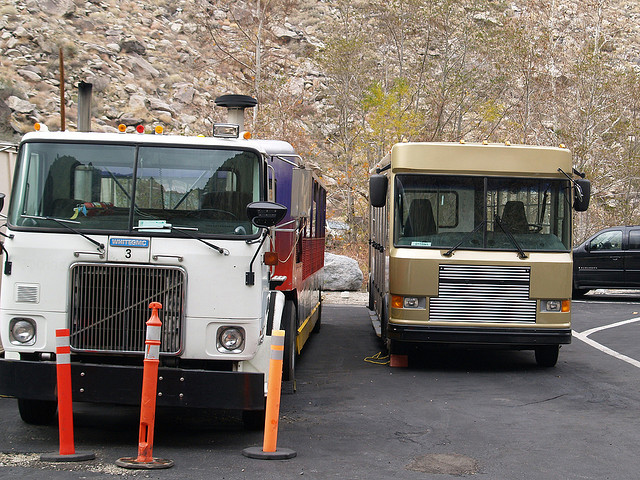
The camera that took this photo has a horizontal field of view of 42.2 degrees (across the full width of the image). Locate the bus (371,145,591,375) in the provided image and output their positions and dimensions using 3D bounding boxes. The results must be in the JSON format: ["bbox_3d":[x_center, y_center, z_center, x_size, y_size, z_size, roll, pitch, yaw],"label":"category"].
[{"bbox_3d":[2.923,0.663,17.774,3.668,4.261,8.435,1,-5,2],"label":"bus"}]

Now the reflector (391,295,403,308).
[{"bbox_3d":[1.318,1.028,13.849,0.169,0.174,0.184,1,-5,-5],"label":"reflector"}]

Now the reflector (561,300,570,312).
[{"bbox_3d":[4.131,1.085,13.709,0.163,0.102,0.165,3,7,15],"label":"reflector"}]

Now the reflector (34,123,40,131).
[{"bbox_3d":[-3.574,-1.417,10.359,0.095,0.096,0.022,12,12,40],"label":"reflector"}]

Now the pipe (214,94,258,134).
[{"bbox_3d":[-1.420,-2.076,13.914,0.685,0.645,0.681,-16,26,-40],"label":"pipe"}]

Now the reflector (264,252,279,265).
[{"bbox_3d":[-0.634,0.228,10.421,0.156,0.147,0.037,2,7,-27],"label":"reflector"}]

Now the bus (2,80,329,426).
[{"bbox_3d":[-1.882,0.413,10.711,4.225,3.947,2.763,-1,4,-23],"label":"bus"}]

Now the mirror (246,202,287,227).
[{"bbox_3d":[-0.663,-0.316,9.942,0.347,0.218,0.072,2,-4,-2],"label":"mirror"}]

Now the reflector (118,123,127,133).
[{"bbox_3d":[-2.528,-1.413,10.569,0.152,0.147,0.036,19,12,30],"label":"reflector"}]

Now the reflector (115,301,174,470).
[{"bbox_3d":[-1.961,1.620,9.289,0.620,1.835,0.317,0,3,-12],"label":"reflector"}]

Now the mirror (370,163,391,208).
[{"bbox_3d":[1.058,-0.948,14.268,0.374,0.828,0.250,4,-10,0],"label":"mirror"}]

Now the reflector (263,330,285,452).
[{"bbox_3d":[-0.550,1.765,9.733,0.219,1.455,0.283,1,3,-4],"label":"reflector"}]

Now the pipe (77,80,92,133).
[{"bbox_3d":[-3.410,-1.895,11.848,0.250,0.754,0.240,-6,18,-36],"label":"pipe"}]
